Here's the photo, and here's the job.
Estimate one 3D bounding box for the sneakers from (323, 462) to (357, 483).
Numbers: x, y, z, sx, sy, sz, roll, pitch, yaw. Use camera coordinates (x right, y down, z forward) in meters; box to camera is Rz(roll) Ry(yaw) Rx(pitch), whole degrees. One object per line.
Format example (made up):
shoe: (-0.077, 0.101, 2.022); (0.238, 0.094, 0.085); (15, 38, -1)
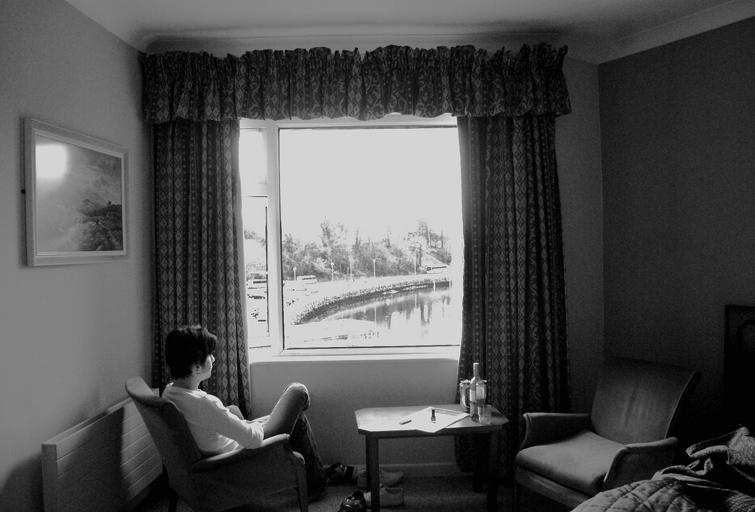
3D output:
sneakers: (-0.301, 1.771, 4.987); (0.200, 0.091, 0.149); (5, -2, -21)

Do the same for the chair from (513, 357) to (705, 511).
chair: (1.737, 1.335, 4.612); (1.313, 1.377, 1.080); (8, -9, -31)

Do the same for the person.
person: (-0.943, 1.240, 4.556); (1.129, 1.541, 0.917); (-8, -3, -30)

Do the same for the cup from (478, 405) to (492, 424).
cup: (0.810, 1.181, 4.523); (0.107, 0.197, 0.108); (-4, -2, 0)

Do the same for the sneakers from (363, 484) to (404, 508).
sneakers: (0.059, 1.866, 4.705); (0.273, 0.101, 0.193); (3, -5, -9)

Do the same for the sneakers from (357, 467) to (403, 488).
sneakers: (0.026, 1.822, 4.984); (0.319, 0.128, 0.188); (0, -4, -4)

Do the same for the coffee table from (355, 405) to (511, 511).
coffee table: (0.411, 1.555, 4.655); (1.115, 0.742, 0.681); (-1, 1, -3)
